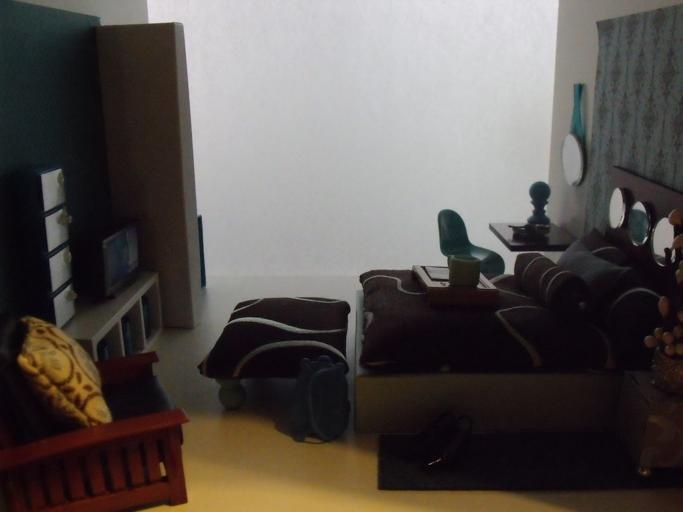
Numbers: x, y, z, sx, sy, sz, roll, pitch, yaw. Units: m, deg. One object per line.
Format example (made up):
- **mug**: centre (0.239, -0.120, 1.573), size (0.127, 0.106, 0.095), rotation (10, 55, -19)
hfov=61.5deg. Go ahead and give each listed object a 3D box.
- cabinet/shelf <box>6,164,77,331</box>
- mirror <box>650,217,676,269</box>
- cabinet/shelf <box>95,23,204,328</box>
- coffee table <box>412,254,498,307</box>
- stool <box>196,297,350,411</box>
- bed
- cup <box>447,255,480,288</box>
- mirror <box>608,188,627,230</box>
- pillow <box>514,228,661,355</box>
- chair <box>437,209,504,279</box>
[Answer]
- **cabinet/shelf**: centre (-1.905, -0.039, 3.677), size (0.258, 1.030, 0.303), rotation (-1, 15, -5)
- **mirror**: centre (1.888, -0.076, 3.356), size (0.060, 0.285, 0.212), rotation (8, 9, -2)
- **cabinet/shelf**: centre (-1.503, -1.067, 4.647), size (0.506, 1.546, 0.426), rotation (-2, 11, -1)
- **coffee table**: centre (0.731, 0.135, 3.934), size (0.401, 0.124, 0.617), rotation (-21, 10, 4)
- **stool**: centre (-0.432, 0.531, 3.752), size (0.722, 0.403, 0.778), rotation (-1, 16, -1)
- **bed**: centre (1.030, 0.280, 3.690), size (1.536, 1.075, 1.628), rotation (2, 16, 6)
- **cup**: centre (0.793, 0.097, 3.745), size (0.178, 0.188, 0.191), rotation (0, 3, 0)
- **mirror**: centre (1.959, -0.352, 4.113), size (0.250, 0.266, 0.026), rotation (-10, 8, -44)
- **pillow**: centre (1.606, 0.218, 3.664), size (0.551, 0.239, 0.736), rotation (-24, 40, 6)
- **chair**: centre (1.164, 0.000, 5.255), size (0.441, 0.831, 0.571), rotation (-10, 13, -21)
